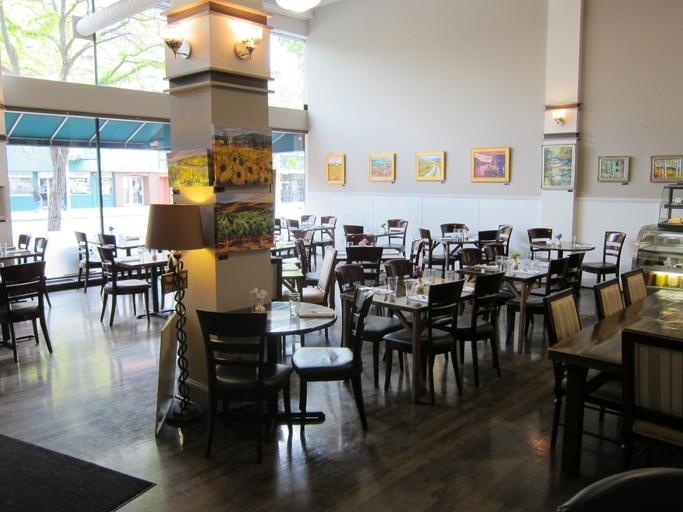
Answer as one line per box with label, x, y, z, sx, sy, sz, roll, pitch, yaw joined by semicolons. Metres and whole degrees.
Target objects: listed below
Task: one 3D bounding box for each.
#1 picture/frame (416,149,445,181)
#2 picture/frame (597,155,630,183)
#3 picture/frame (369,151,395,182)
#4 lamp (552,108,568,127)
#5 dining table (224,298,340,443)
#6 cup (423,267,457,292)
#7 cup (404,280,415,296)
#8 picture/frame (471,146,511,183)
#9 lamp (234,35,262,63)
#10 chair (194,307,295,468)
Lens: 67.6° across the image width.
picture/frame;1.968;-2.004;11.213;0.698;0.701;0.053;5;8;41
picture/frame;4.838;-1.534;9.018;0.473;0.442;0.066;10;10;44
picture/frame;0.966;-2.115;11.979;0.735;0.681;0.081;5;7;40
lamp;4.012;-2.544;9.375;0.066;0.261;0.279;0;11;-45
dining table;-0.497;0.937;4.467;0.989;0.824;0.986;-1;5;-2
cup;1.112;0.270;5.813;0.179;0.304;0.205;0;14;-7
cup;0.667;0.326;5.229;0.129;0.146;0.129;0;2;0
picture/frame;3.065;-1.870;10.388;0.064;0.720;0.795;-6;7;-43
lamp;-0.847;-1.813;4.461;0.181;0.215;0.080;-4;31;-30
chair;-0.755;0.922;4.092;0.708;1.161;0.807;-3;12;-11
